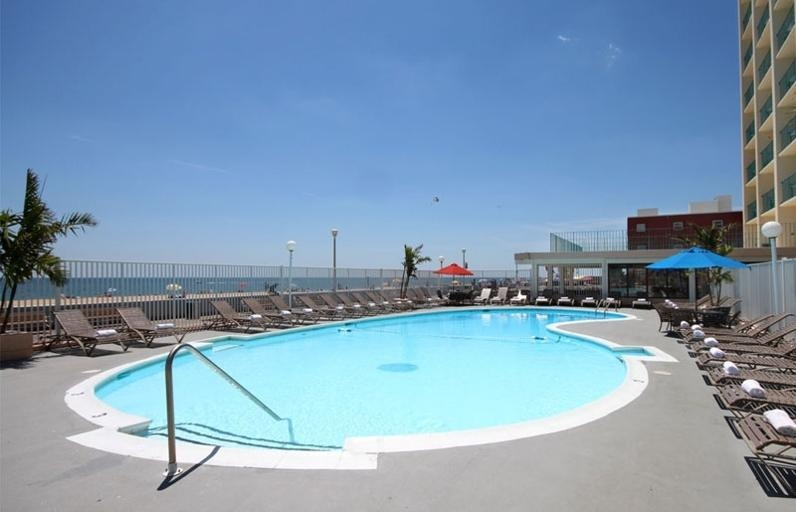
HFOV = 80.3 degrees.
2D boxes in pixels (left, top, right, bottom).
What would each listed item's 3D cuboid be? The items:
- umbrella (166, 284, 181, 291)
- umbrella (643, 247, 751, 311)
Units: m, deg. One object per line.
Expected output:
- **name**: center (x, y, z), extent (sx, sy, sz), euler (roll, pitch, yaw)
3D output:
- **umbrella**: center (-8.186, 1.129, 17.320), extent (0.106, 0.257, 0.575), euler (-6, -5, 30)
- **umbrella**: center (10.304, 0.755, 16.802), extent (2.339, 1.496, 2.191), euler (-1, -3, -22)
